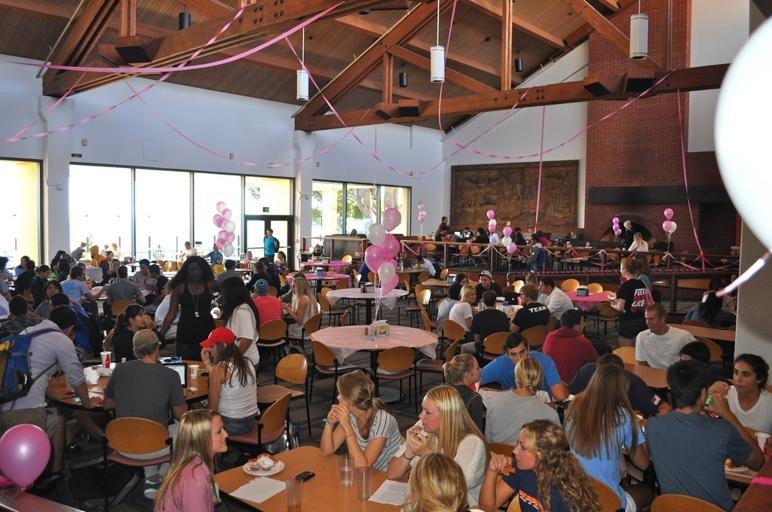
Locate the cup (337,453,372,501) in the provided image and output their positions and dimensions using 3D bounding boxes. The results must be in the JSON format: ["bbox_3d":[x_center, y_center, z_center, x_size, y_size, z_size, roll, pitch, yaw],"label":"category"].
[{"bbox_3d":[-0.241,1.821,5.231,0.274,0.296,0.302,0,1,0],"label":"cup"}]

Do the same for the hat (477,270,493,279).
[{"bbox_3d":[1.917,0.363,12.197,0.265,0.130,0.182,18,-14,-36],"label":"hat"}]

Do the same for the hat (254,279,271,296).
[{"bbox_3d":[-1.889,0.492,9.643,0.214,0.285,0.285,1,-8,-17],"label":"hat"}]

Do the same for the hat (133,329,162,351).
[{"bbox_3d":[-2.350,0.829,6.220,0.232,0.206,0.185,0,1,-22],"label":"hat"}]

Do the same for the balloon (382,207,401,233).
[{"bbox_3d":[0.088,-0.594,10.311,0.331,0.424,0.349,3,-2,-2],"label":"balloon"}]

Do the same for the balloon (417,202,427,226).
[{"bbox_3d":[1.160,-1.466,20.700,0.264,0.854,0.266,-1,-18,12],"label":"balloon"}]

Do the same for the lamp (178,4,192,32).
[{"bbox_3d":[-3.328,-3.907,10.532,0.155,0.447,0.537,-1,1,-21],"label":"lamp"}]

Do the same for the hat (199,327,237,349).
[{"bbox_3d":[-1.727,0.837,6.529,0.324,0.181,0.207,-11,0,-2],"label":"hat"}]

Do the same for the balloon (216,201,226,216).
[{"bbox_3d":[-3.846,-1.120,14.850,0.274,0.327,0.156,4,5,-21],"label":"balloon"}]

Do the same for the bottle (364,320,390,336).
[{"bbox_3d":[-0.104,0.977,8.570,0.279,0.282,0.165,0,-1,-25],"label":"bottle"}]

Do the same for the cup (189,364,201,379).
[{"bbox_3d":[-2.130,1.307,7.113,0.116,0.141,0.148,2,-4,15],"label":"cup"}]

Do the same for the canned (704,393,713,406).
[{"bbox_3d":[3.022,1.362,5.922,0.056,0.111,0.289,1,1,32],"label":"canned"}]
